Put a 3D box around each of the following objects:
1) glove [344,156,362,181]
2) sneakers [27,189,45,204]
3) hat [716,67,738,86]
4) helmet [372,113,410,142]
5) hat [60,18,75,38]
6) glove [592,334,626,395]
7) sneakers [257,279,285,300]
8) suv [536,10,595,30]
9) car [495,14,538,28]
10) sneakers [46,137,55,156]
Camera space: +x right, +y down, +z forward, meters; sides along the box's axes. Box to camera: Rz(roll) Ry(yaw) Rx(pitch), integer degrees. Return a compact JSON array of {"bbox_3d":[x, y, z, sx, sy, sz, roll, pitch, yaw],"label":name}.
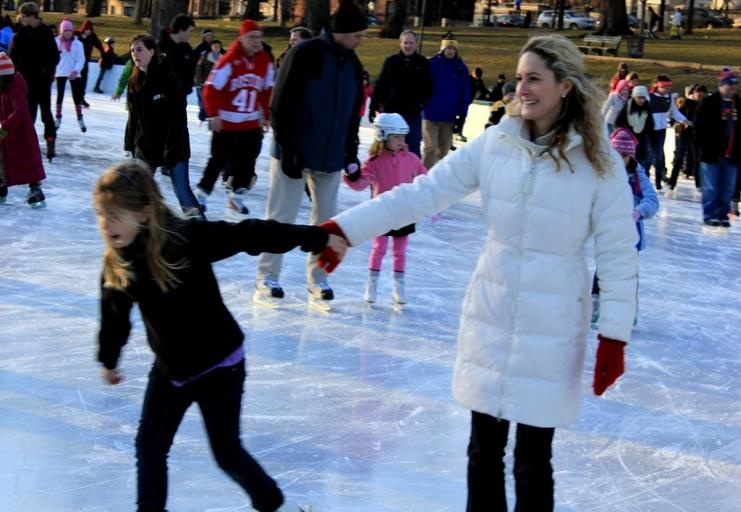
[{"bbox_3d":[-0.149,-0.683,6.947,0.195,0.157,0.051,5,9,-18],"label":"glove"},{"bbox_3d":[-3.434,-0.599,8.843,0.156,0.176,0.120,-3,13,-22],"label":"sneakers"},{"bbox_3d":[4.551,-2.289,11.101,0.211,0.203,0.591,6,11,20],"label":"hat"},{"bbox_3d":[0.123,-1.041,6.952,0.287,0.168,0.228,1,8,26],"label":"helmet"},{"bbox_3d":[-5.208,-3.888,14.755,0.191,0.322,0.487,-1,11,-15],"label":"hat"},{"bbox_3d":[1.083,0.490,3.950,0.191,0.237,0.081,10,4,11],"label":"glove"},{"bbox_3d":[-0.821,0.274,6.996,0.270,0.091,0.104,16,6,7],"label":"sneakers"},{"bbox_3d":[11.102,-13.851,50.340,3.663,1.127,1.831,2,9,27],"label":"suv"},{"bbox_3d":[8.702,-14.471,52.466,1.513,0.844,2.374,12,18,42],"label":"car"},{"bbox_3d":[-4.130,-1.389,11.130,0.084,0.239,0.140,-5,14,-29],"label":"sneakers"}]
